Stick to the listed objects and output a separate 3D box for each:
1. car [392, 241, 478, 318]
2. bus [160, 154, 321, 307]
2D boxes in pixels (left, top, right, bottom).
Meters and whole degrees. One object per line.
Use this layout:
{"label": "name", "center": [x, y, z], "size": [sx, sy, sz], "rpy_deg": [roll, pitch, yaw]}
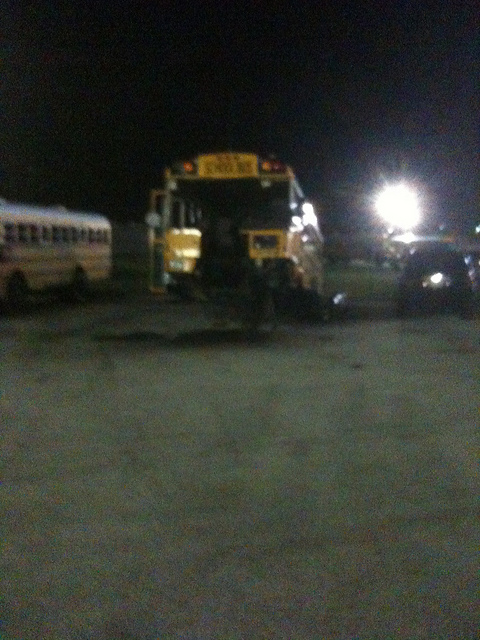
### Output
{"label": "car", "center": [6.267, -1.227, 15.899], "size": [2.472, 2.510, 2.440], "rpy_deg": [2, -5, 7]}
{"label": "bus", "center": [0.038, -1.513, 14.339], "size": [3.301, 3.816, 6.399], "rpy_deg": [0, -7, 7]}
